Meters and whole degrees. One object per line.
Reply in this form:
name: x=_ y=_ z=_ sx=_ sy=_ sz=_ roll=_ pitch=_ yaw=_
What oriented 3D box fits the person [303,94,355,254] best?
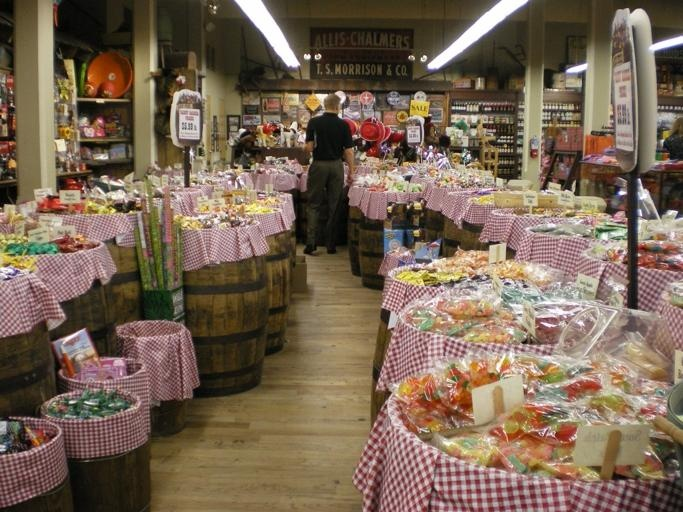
person: x=-0.215 y=-1.305 z=7.933 sx=0.699 sy=2.363 sz=0.698 roll=2 pitch=19 yaw=-5

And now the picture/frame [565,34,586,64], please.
picture/frame: x=7.020 y=-6.173 z=15.473 sx=0.568 sy=0.892 sz=0.411 roll=2 pitch=10 yaw=13

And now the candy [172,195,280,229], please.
candy: x=-0.826 y=-0.396 z=3.769 sx=0.622 sy=0.260 sz=0.831 roll=2 pitch=13 yaw=-9
